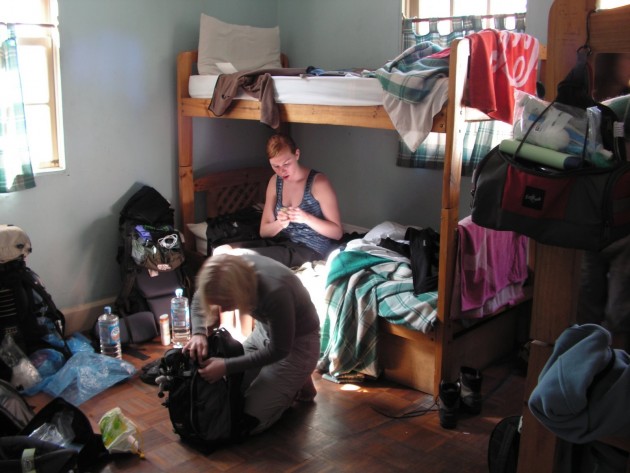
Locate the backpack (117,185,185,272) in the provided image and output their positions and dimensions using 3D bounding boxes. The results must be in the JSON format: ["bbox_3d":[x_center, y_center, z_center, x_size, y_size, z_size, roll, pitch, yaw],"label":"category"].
[{"bbox_3d":[-1.183,-0.069,3.838,0.470,0.584,0.637,-21,15,-41],"label":"backpack"}]

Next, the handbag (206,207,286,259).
[{"bbox_3d":[-0.605,-0.064,4.038,0.512,0.161,0.386,-14,21,-37],"label":"handbag"}]

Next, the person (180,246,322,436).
[{"bbox_3d":[-0.307,0.575,2.576,0.508,0.738,0.420,-32,54,-26],"label":"person"}]

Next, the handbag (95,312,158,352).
[{"bbox_3d":[-1.349,0.643,3.620,0.353,0.252,0.261,-5,-20,-42],"label":"handbag"}]

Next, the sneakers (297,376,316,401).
[{"bbox_3d":[-0.041,0.892,2.927,0.088,0.153,0.149,2,2,7],"label":"sneakers"}]

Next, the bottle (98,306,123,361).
[{"bbox_3d":[-1.394,0.632,3.362,0.147,0.385,0.268,-7,17,-24],"label":"bottle"}]
